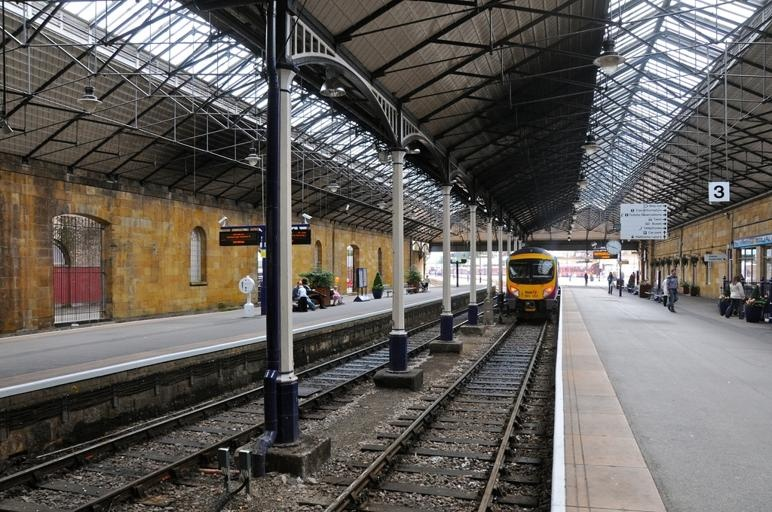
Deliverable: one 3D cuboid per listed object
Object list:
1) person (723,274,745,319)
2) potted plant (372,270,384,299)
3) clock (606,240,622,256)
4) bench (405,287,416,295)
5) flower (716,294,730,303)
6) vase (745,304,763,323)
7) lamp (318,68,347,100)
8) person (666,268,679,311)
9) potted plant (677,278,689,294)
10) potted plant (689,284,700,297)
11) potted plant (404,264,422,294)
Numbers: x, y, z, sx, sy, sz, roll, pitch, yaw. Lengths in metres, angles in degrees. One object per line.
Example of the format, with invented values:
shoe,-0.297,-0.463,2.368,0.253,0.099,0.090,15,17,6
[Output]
person,15.678,1.815,28.473,0.769,1.806,1.434,-3,-4,28
potted plant,-0.559,1.882,40.433,0.592,1.588,1.267,-2,-3,-3
clock,13.731,-0.574,38.124,0.519,0.678,2.394,-4,-4,27
bench,2.022,2.551,48.768,0.885,0.559,1.841,-2,-4,2
flower,15.692,1.918,29.263,0.420,0.483,0.450,-1,0,-15
vase,15.425,2.365,26.506,0.671,0.790,0.683,4,-7,9
lamp,-1.376,-4.353,16.198,0.710,0.831,0.676,1,-3,-24
person,14.335,1.682,31.617,0.430,2.136,1.180,-3,-3,21
potted plant,21.812,2.168,46.344,1.140,1.275,1.087,4,5,24
potted plant,22.001,2.445,44.897,0.619,0.766,0.632,1,1,9
potted plant,2.106,1.722,49.636,1.574,2.382,1.629,-10,13,-37
